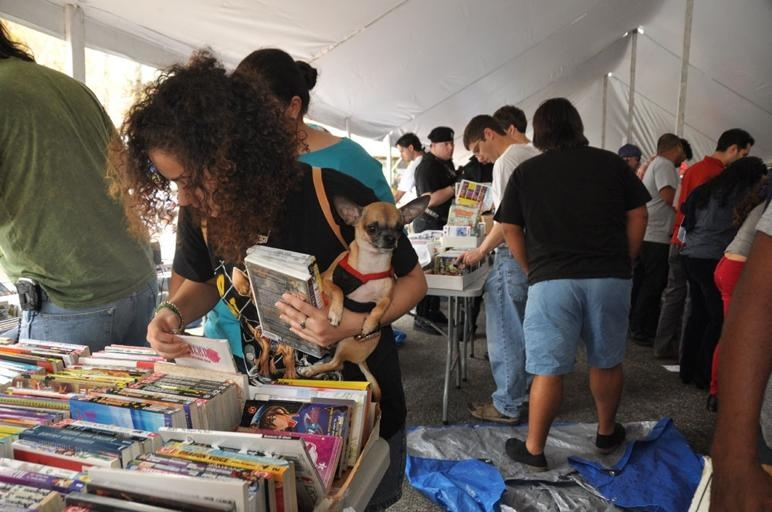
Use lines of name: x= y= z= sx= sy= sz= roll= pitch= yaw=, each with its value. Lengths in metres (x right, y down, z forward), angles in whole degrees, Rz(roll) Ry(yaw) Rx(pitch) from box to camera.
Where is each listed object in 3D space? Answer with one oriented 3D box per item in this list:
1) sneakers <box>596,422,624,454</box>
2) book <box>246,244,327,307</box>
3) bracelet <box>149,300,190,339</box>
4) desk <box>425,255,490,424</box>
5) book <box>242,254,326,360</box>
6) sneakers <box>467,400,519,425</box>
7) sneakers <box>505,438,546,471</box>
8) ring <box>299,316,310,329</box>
sneakers: x=1.581 y=1.303 z=4.038 sx=0.119 sy=0.111 sz=0.264 roll=-1 pitch=15 yaw=32
book: x=-0.401 y=0.085 z=2.299 sx=0.243 sy=0.223 sz=0.085 roll=5 pitch=34 yaw=18
bracelet: x=-0.975 y=0.292 z=2.617 sx=0.130 sy=0.147 sz=0.063 roll=0 pitch=-19 yaw=-8
desk: x=0.643 y=0.790 z=5.117 sx=0.728 sy=0.818 sz=1.279 roll=0 pitch=8 yaw=13
book: x=-0.402 y=0.199 z=2.336 sx=0.373 sy=0.478 sz=0.157 roll=9 pitch=36 yaw=19
sneakers: x=0.869 y=1.269 z=4.604 sx=0.348 sy=0.135 sz=0.149 roll=9 pitch=5 yaw=33
sneakers: x=0.940 y=1.348 z=3.900 sx=0.131 sy=0.099 sz=0.251 roll=-3 pitch=24 yaw=-41
ring: x=-0.324 y=0.269 z=2.323 sx=0.024 sy=0.038 sz=0.041 roll=37 pitch=32 yaw=-7
